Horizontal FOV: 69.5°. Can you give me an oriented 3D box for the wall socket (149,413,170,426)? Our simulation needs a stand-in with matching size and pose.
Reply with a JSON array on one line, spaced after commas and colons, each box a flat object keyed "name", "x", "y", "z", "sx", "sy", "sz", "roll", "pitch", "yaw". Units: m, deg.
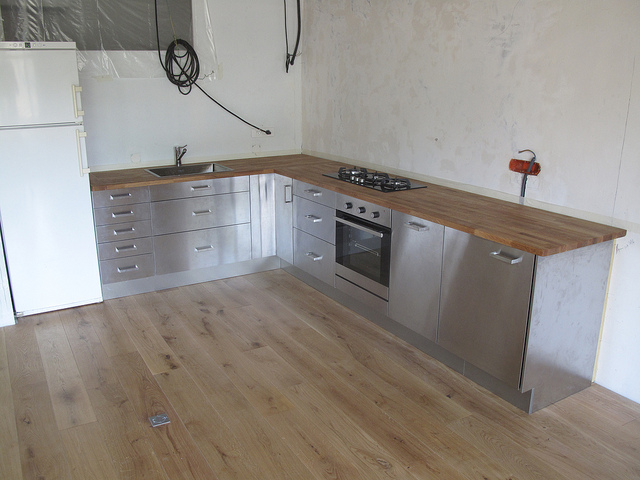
[{"name": "wall socket", "x": -0.934, "y": 1.049, "z": 2.686, "sx": 0.092, "sy": 0.009, "sz": 0.097, "roll": -13, "pitch": 23, "yaw": -33}]

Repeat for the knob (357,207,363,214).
[{"name": "knob", "x": 0.308, "y": -0.228, "z": 3.567, "sx": 0.038, "sy": 0.033, "sz": 0.034, "roll": -3, "pitch": -22, "yaw": -30}]

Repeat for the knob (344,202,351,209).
[{"name": "knob", "x": 0.217, "y": -0.270, "z": 3.683, "sx": 0.043, "sy": 0.038, "sz": 0.036, "roll": -2, "pitch": 23, "yaw": -23}]

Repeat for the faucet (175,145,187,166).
[{"name": "faucet", "x": -1.386, "y": -0.836, "z": 4.598, "sx": 0.098, "sy": 0.184, "sz": 0.114, "roll": -5, "pitch": 20, "yaw": -11}]

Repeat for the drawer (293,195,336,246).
[{"name": "drawer", "x": -0.054, "y": -0.190, "z": 4.096, "sx": 0.386, "sy": 0.292, "sz": 0.605, "roll": -8, "pitch": 20, "yaw": -39}]

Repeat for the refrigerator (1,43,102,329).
[{"name": "refrigerator", "x": -2.168, "y": -0.405, "z": 3.575, "sx": 0.843, "sy": 2.101, "sz": 0.295, "roll": -11, "pitch": 23, "yaw": -27}]

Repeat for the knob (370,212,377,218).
[{"name": "knob", "x": 0.401, "y": -0.185, "z": 3.445, "sx": 0.041, "sy": 0.031, "sz": 0.030, "roll": -6, "pitch": 43, "yaw": -34}]

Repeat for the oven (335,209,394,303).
[{"name": "oven", "x": 0.362, "y": 0.107, "z": 3.593, "sx": 0.434, "sy": 0.548, "sz": 0.590, "roll": -8, "pitch": 22, "yaw": -30}]

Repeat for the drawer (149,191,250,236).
[{"name": "drawer", "x": -1.115, "y": -0.245, "z": 4.233, "sx": 0.640, "sy": 0.215, "sz": 0.460, "roll": -9, "pitch": 18, "yaw": -31}]
